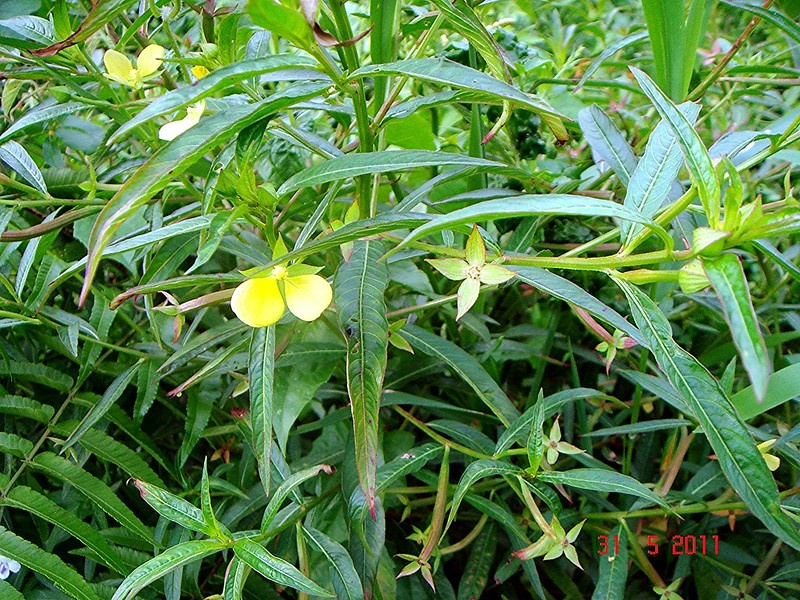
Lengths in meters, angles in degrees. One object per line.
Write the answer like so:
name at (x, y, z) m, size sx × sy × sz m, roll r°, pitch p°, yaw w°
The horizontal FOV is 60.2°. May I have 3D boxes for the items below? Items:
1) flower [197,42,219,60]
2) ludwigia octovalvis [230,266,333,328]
flower at (-0.312, -0.413, 1.132) m, size 0.030 × 0.023 × 0.047 m, roll -21°, pitch 41°, yaw -19°
ludwigia octovalvis at (-0.159, -0.027, 0.980) m, size 0.116 × 0.116 × 0.038 m, roll -3°, pitch 68°, yaw 12°
